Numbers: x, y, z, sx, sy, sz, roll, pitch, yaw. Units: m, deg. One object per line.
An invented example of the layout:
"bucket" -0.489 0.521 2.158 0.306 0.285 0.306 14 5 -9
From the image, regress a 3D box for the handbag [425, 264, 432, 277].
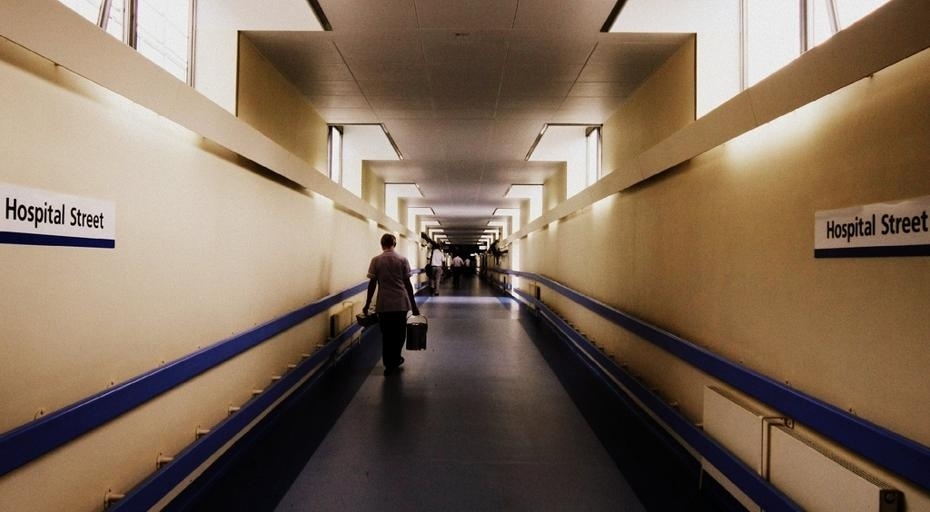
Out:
"handbag" -1.014 0.421 14.890 0.106 0.340 0.571 2 -3 -10

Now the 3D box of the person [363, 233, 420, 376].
"person" -0.947 0.727 6.645 0.653 1.552 0.423 2 -2 -9
